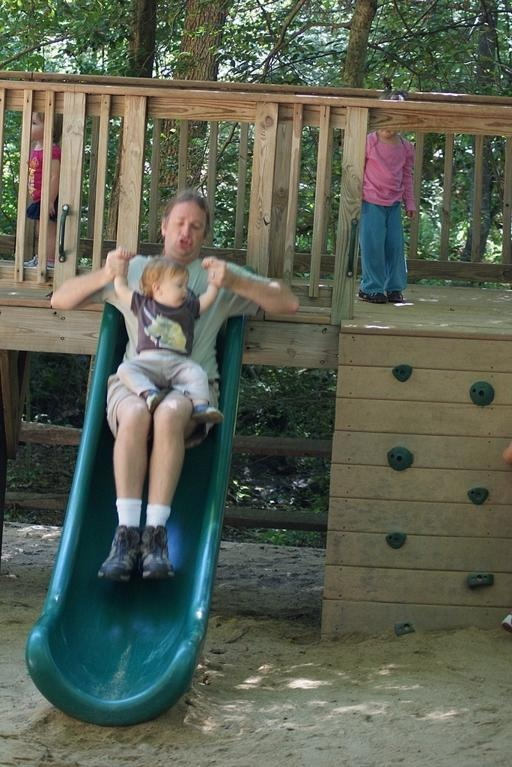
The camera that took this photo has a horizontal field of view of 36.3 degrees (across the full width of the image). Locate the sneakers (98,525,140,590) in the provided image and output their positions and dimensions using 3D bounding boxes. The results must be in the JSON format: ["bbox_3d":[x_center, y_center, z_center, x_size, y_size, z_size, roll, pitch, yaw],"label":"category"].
[{"bbox_3d":[-0.461,0.582,2.702,0.084,0.180,0.159,-13,-9,37],"label":"sneakers"}]

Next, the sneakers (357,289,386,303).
[{"bbox_3d":[0.734,-0.563,4.949,0.175,0.064,0.073,3,7,32],"label":"sneakers"}]

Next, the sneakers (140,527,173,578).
[{"bbox_3d":[-0.352,0.582,2.706,0.106,0.176,0.116,-6,-7,-9],"label":"sneakers"}]
